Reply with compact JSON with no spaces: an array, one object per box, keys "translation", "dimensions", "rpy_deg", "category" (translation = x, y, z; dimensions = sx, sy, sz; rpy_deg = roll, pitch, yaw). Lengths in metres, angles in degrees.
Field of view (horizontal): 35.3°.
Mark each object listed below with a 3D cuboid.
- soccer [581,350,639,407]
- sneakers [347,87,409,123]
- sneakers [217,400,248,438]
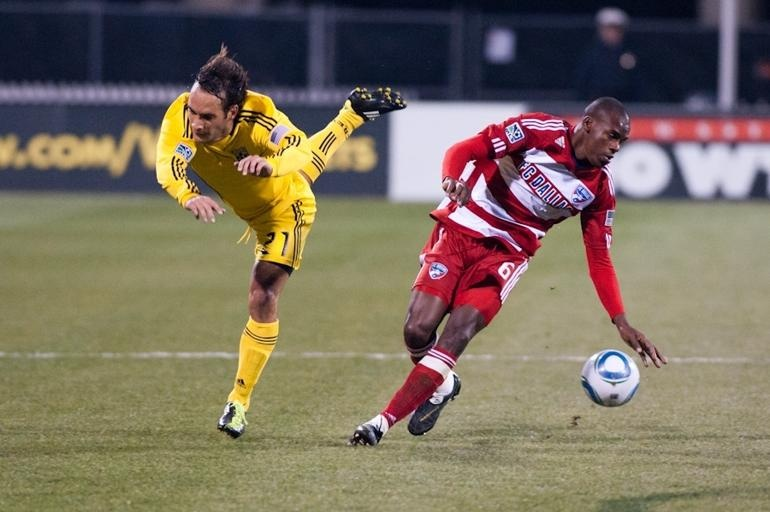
[{"translation":[1.717,0.857,9.254],"dimensions":[0.377,0.363,0.355],"rpy_deg":[27,-18,13],"category":"soccer"},{"translation":[-0.072,-1.172,9.421],"dimensions":[0.384,0.147,0.248],"rpy_deg":[-2,41,-13],"category":"sneakers"},{"translation":[-1.145,1.219,9.040],"dimensions":[0.217,0.237,0.259],"rpy_deg":[6,10,-5],"category":"sneakers"}]
